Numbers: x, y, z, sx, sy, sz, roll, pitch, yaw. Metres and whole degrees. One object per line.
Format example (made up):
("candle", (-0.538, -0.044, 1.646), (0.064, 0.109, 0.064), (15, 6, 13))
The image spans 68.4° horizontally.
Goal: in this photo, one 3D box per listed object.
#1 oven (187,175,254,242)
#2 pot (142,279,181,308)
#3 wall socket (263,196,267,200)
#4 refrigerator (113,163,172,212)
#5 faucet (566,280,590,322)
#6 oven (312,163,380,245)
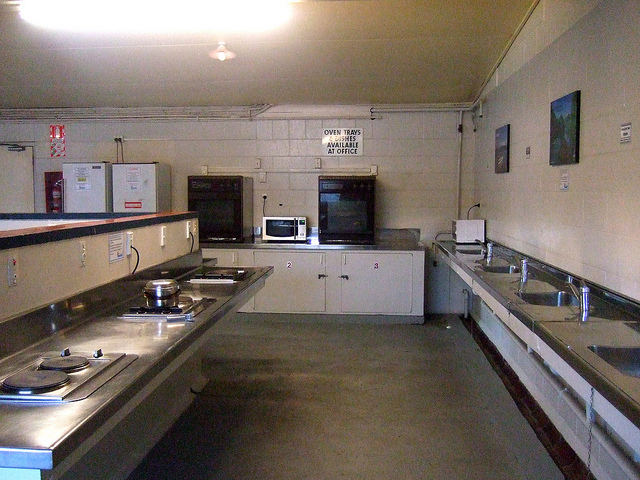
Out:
("oven", (-1.195, -0.408, 5.712), (0.736, 0.757, 0.666), (-2, 10, -13))
("pot", (-0.914, 0.303, 2.742), (0.157, 0.112, 0.161), (1, 0, 0))
("wall socket", (-0.691, -0.541, 5.868), (0.045, 0.048, 0.011), (-1, 3, 1))
("refrigerator", (-2.290, -0.721, 5.768), (0.509, 0.723, 0.412), (-2, 37, -24))
("faucet", (1.487, 0.311, 2.703), (0.114, 0.153, 0.499), (5, 11, 28))
("oven", (0.338, -0.498, 5.647), (0.745, 0.973, 0.600), (-3, 34, 0))
